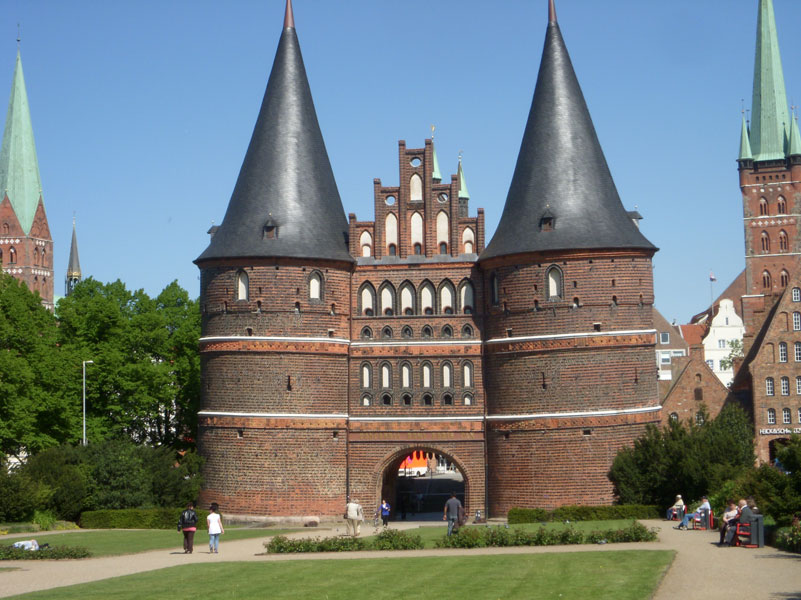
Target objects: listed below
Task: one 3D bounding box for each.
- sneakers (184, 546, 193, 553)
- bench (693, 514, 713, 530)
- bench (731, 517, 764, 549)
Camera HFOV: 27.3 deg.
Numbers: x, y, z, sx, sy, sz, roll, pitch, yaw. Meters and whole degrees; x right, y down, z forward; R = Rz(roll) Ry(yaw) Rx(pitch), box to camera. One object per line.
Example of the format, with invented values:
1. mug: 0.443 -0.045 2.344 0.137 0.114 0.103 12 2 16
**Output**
1. sneakers: -9.757 11.507 76.380 0.284 0.266 0.287 1 -17 -9
2. bench: 14.254 10.374 77.419 0.864 0.832 0.643 1 -8 12
3. bench: 15.147 10.081 71.757 1.277 1.359 1.447 0 -6 9
